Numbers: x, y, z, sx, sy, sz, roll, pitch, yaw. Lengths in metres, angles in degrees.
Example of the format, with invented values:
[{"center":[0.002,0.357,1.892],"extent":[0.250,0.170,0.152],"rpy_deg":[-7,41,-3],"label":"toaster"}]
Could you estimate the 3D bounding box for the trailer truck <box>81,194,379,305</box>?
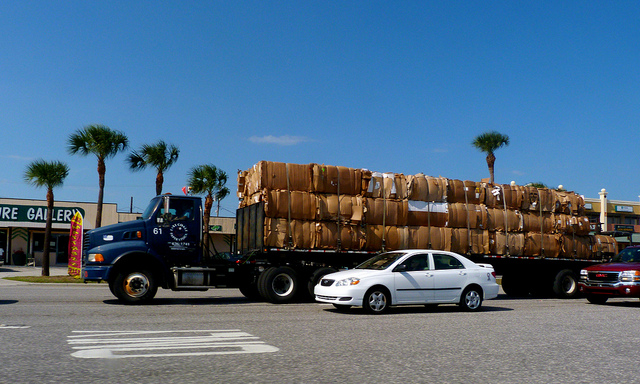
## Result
[{"center":[-3.482,2.394,24.118],"extent":[12.924,4.371,4.690],"rpy_deg":[5,-10,-24],"label":"trailer truck"}]
